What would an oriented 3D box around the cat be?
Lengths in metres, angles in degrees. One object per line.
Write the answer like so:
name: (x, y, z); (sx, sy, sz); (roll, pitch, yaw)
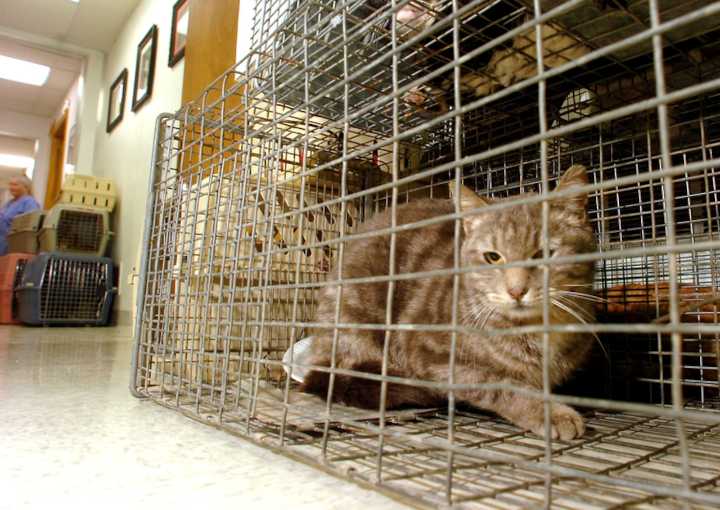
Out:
cat: (0.398, 0.175, 1.852); (0.873, 0.644, 1.356); (-5, -2, -10)
